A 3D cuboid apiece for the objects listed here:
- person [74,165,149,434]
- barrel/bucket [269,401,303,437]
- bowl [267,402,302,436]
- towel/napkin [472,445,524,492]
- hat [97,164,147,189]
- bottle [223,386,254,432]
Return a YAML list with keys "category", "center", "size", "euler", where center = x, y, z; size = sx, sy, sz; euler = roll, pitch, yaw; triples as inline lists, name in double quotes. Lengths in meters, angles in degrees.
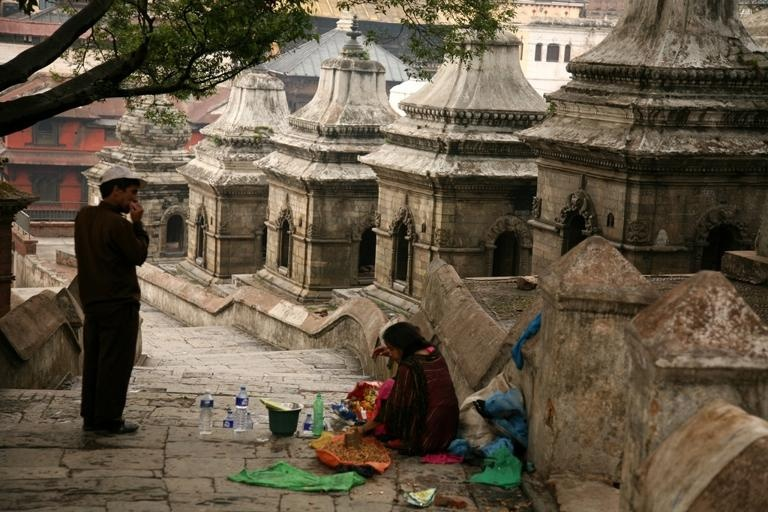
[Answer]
- category: "person"
  center: [-2.446, 0.391, 8.874]
  size: [0.755, 2.339, 0.596]
  euler: [-9, 12, -33]
- category: "barrel/bucket"
  center: [-0.911, 1.503, 9.087]
  size: [0.290, 0.192, 0.275]
  euler: [0, -2, 0]
- category: "bowl"
  center: [-0.930, 1.482, 9.112]
  size: [0.367, 0.255, 0.374]
  euler: [0, -20, 0]
- category: "towel/napkin"
  center: [0.928, 1.742, 8.200]
  size: [0.425, 0.228, 0.348]
  euler: [-1, 9, 9]
- category: "hat"
  center: [-2.401, -0.716, 8.926]
  size: [0.334, 0.137, 0.236]
  euler: [-1, 0, -5]
- category: "bottle"
  center: [-1.365, 1.434, 9.215]
  size: [0.280, 0.346, 0.456]
  euler: [-4, 9, -8]
